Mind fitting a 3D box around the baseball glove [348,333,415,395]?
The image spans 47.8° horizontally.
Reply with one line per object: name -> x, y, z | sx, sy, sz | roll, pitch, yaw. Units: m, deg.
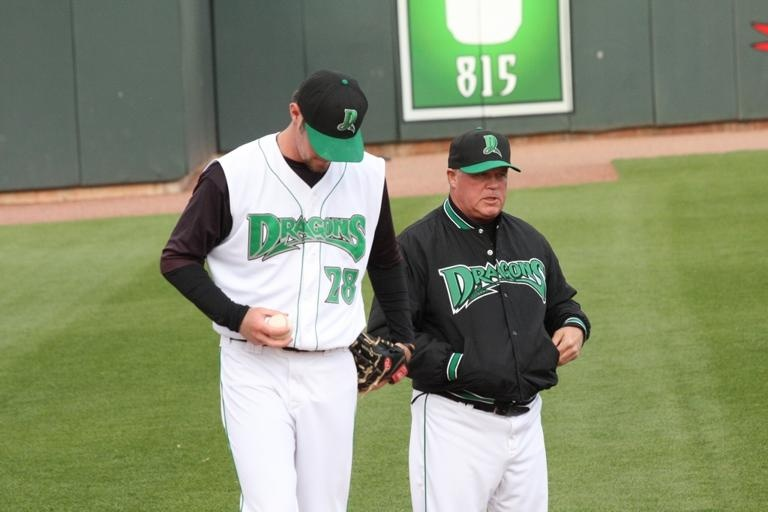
baseball glove -> -0.022, 0.573, 4.652 | 0.184, 0.239, 0.364 | 5, 13, 39

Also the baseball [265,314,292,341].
baseball -> -0.514, 0.349, 4.285 | 0.112, 0.122, 0.088 | 24, -5, -1

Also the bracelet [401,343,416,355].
bracelet -> 0.134, 0.504, 4.709 | 0.048, 0.070, 0.027 | -48, 10, -28

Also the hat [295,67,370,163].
hat -> -0.275, -0.706, 4.452 | 0.370, 0.483, 0.179 | -4, 10, -8

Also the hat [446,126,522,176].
hat -> 0.553, -0.584, 4.867 | 0.245, 0.207, 0.332 | -2, 6, -34
